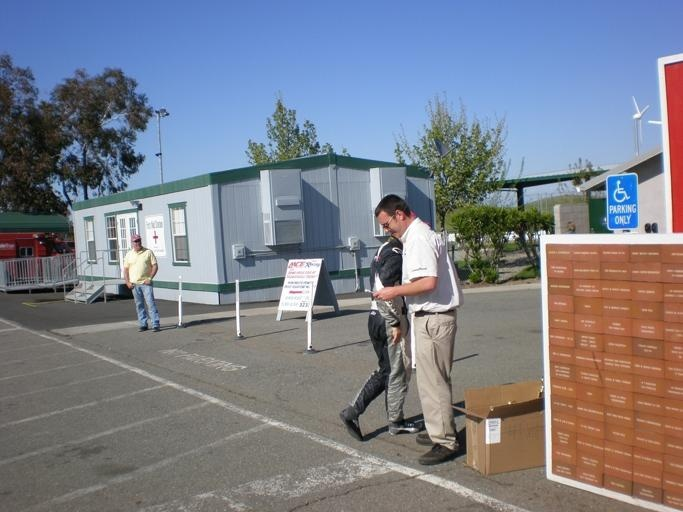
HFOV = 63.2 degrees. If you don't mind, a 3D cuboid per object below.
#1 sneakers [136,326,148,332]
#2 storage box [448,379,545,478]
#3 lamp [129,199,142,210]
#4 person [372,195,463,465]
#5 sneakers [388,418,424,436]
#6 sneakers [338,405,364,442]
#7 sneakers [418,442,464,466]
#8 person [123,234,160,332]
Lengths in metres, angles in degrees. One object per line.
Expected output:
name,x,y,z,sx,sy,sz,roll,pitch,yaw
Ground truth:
sneakers,-4.809,1.765,13.404,0.234,0.196,0.092,6,5,-1
storage box,1.600,1.656,5.300,0.875,0.726,0.554,-3,-4,-13
lamp,-8.079,-1.970,21.809,0.465,0.535,0.371,-9,10,-20
person,0.801,0.702,5.482,0.761,2.614,0.520,0,4,17
sneakers,0.710,1.914,6.237,0.411,0.208,0.161,-6,3,-11
sneakers,0.116,1.792,6.064,0.191,0.507,0.164,-23,12,7
sneakers,0.972,1.895,5.384,0.409,0.206,0.179,-1,-2,-22
person,-4.753,0.676,13.280,0.862,2.292,0.563,2,5,38
